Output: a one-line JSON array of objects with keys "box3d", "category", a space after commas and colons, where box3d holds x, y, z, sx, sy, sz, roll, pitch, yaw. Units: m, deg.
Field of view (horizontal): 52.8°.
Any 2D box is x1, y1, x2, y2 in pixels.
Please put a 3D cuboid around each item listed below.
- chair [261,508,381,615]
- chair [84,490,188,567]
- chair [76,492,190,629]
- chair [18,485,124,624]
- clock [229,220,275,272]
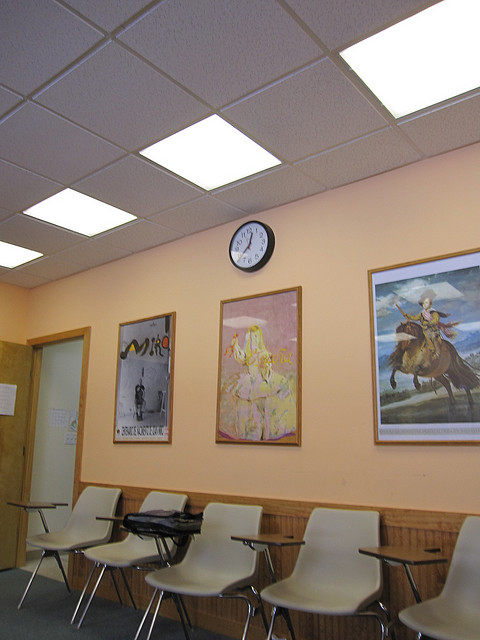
[{"box3d": [0.434, 1.204, 2.492, 0.548, 0.474, 0.662, -2, -21, 14], "category": "chair"}, {"box3d": [-0.709, 1.457, 3.414, 0.512, 0.459, 0.595, -8, -21, 35], "category": "chair"}, {"box3d": [-0.748, 1.635, 3.343, 0.605, 0.824, 0.527, 16, -20, -39], "category": "chair"}, {"box3d": [-1.331, 1.844, 3.879, 0.564, 0.914, 0.664, -9, -16, 37], "category": "chair"}, {"box3d": [0.057, -0.569, 3.640, 0.353, 0.366, 0.065, -18, 32, -29], "category": "clock"}]
